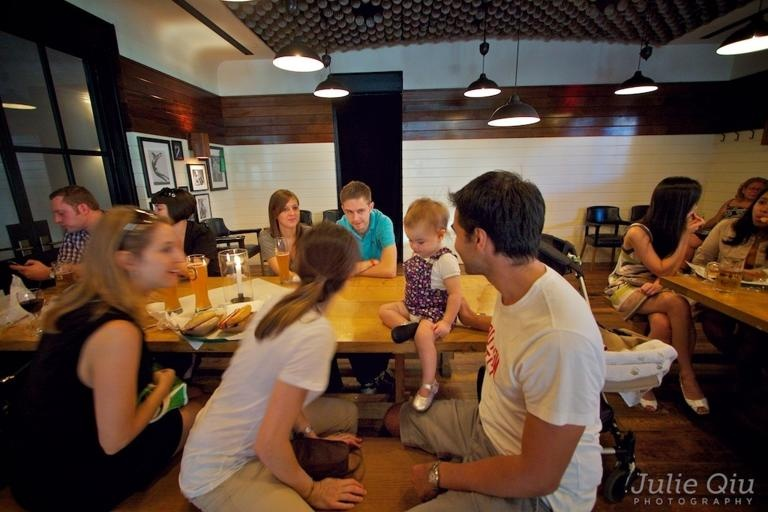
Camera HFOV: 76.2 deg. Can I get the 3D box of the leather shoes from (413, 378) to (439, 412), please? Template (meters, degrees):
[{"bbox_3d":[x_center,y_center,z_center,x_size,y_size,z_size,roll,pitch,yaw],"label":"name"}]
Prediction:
[{"bbox_3d":[0.294,0.962,3.439,0.109,0.099,0.265,5,26,31],"label":"leather shoes"}]

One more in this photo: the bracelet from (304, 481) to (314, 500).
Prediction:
[{"bbox_3d":[-0.461,1.478,3.072,0.022,0.075,0.085,19,-18,-10],"label":"bracelet"}]

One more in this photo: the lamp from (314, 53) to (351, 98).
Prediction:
[{"bbox_3d":[-0.619,-2.096,5.619,0.405,0.399,0.372,-7,16,-18],"label":"lamp"}]

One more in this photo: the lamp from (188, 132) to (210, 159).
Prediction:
[{"bbox_3d":[-2.495,-1.496,6.639,0.228,0.334,0.213,0,13,7],"label":"lamp"}]

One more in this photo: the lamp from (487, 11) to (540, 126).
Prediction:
[{"bbox_3d":[1.473,-2.047,5.449,0.680,1.063,0.643,-7,18,-31],"label":"lamp"}]

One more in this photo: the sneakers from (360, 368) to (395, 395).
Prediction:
[{"bbox_3d":[-0.071,1.132,4.407,0.240,0.245,0.286,-8,-15,-7],"label":"sneakers"}]

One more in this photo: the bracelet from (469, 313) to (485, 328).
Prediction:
[{"bbox_3d":[0.649,0.453,3.454,0.087,0.079,0.083,8,-29,-14],"label":"bracelet"}]

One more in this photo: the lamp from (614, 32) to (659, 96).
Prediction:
[{"bbox_3d":[3.103,-2.355,5.939,0.426,0.640,0.426,7,9,28],"label":"lamp"}]

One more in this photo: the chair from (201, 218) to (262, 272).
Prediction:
[{"bbox_3d":[-2.102,-0.089,6.810,0.669,0.815,0.704,0,14,-4],"label":"chair"}]

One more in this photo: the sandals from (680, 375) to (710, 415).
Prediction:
[{"bbox_3d":[2.592,1.167,4.126,0.123,0.051,0.345,-12,29,15],"label":"sandals"}]
